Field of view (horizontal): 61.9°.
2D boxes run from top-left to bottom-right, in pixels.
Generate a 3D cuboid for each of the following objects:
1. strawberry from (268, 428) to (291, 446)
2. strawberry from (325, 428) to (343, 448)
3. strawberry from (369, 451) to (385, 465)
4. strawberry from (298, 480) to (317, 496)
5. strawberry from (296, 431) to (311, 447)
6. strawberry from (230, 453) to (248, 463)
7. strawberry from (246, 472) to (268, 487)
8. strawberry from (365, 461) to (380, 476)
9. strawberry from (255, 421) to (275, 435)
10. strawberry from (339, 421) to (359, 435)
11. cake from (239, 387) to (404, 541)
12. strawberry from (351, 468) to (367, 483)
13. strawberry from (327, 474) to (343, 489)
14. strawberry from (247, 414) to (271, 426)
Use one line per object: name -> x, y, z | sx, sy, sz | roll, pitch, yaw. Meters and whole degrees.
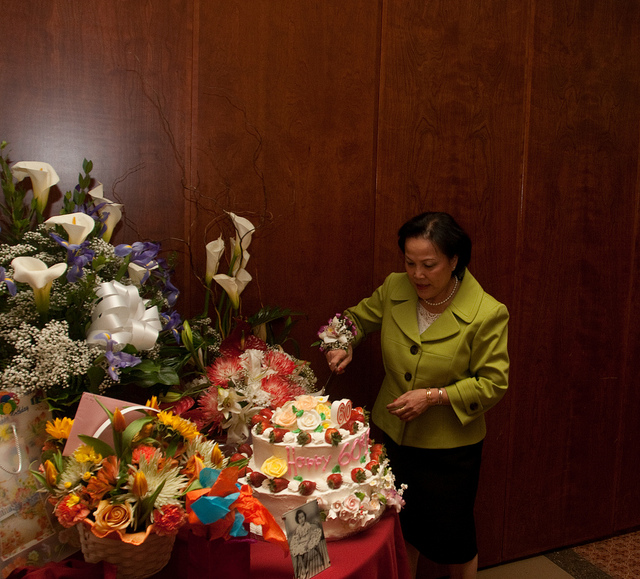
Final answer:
strawberry -> -0.130, 0.454, 1.660 | 0.056, 0.045, 0.048 | 0, 10, -5
strawberry -> 0.044, 0.444, 1.642 | 0.046, 0.050, 0.049 | -3, 16, 23
strawberry -> 0.195, 0.549, 1.790 | 0.045, 0.046, 0.038 | 34, -17, -32
strawberry -> -0.038, 0.580, 1.579 | 0.026, 0.032, 0.052 | -13, -3, 35
strawberry -> -0.051, 0.452, 1.629 | 0.044, 0.044, 0.021 | 0, 9, -3
strawberry -> -0.241, 0.477, 1.534 | 0.031, 0.026, 0.035 | 4, -2, -20
strawberry -> -0.188, 0.562, 1.608 | 0.057, 0.060, 0.048 | -1, 5, -14
strawberry -> 0.167, 0.566, 1.707 | 0.046, 0.029, 0.042 | 1, 10, 2
strawberry -> -0.188, 0.437, 1.706 | 0.039, 0.033, 0.034 | -3, 14, -16
strawberry -> 0.098, 0.440, 1.720 | 0.061, 0.031, 0.043 | -7, 13, -37
cake -> -0.040, 0.549, 1.751 | 0.516, 0.382, 0.507 | -7, 13, -39
strawberry -> 0.121, 0.570, 1.656 | 0.038, 0.036, 0.041 | -12, 43, 36
strawberry -> 0.045, 0.576, 1.615 | 0.046, 0.042, 0.026 | 1, 9, -1
strawberry -> -0.203, 0.425, 1.756 | 0.036, 0.020, 0.038 | 28, -3, 28
